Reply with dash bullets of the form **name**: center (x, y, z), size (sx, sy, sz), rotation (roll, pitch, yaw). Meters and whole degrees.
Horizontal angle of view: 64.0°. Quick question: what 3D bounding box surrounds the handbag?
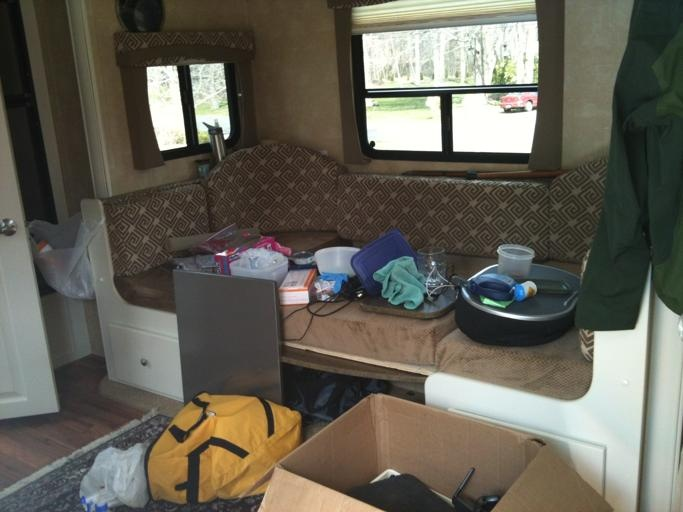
- **handbag**: center (-0.515, 0.833, 2.337), size (0.493, 0.195, 0.492), rotation (1, 35, 24)

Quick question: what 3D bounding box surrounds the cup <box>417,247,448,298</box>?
- **cup**: center (0.430, 0.077, 2.508), size (0.134, 0.174, 0.227), rotation (-2, 19, 4)

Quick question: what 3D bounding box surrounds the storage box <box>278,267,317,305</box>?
- **storage box**: center (-0.209, 0.149, 2.710), size (0.169, 0.093, 0.271), rotation (-3, 19, 2)

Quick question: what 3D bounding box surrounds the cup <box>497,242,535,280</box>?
- **cup**: center (0.794, 0.031, 2.465), size (0.152, 0.129, 0.150), rotation (0, 19, 0)

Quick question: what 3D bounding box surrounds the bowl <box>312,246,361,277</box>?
- **bowl**: center (-0.027, 0.020, 2.842), size (0.194, 0.084, 0.150), rotation (3, 21, 14)

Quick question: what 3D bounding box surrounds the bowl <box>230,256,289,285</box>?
- **bowl**: center (-0.420, 0.059, 2.727), size (0.189, 0.075, 0.148), rotation (5, 11, 40)
